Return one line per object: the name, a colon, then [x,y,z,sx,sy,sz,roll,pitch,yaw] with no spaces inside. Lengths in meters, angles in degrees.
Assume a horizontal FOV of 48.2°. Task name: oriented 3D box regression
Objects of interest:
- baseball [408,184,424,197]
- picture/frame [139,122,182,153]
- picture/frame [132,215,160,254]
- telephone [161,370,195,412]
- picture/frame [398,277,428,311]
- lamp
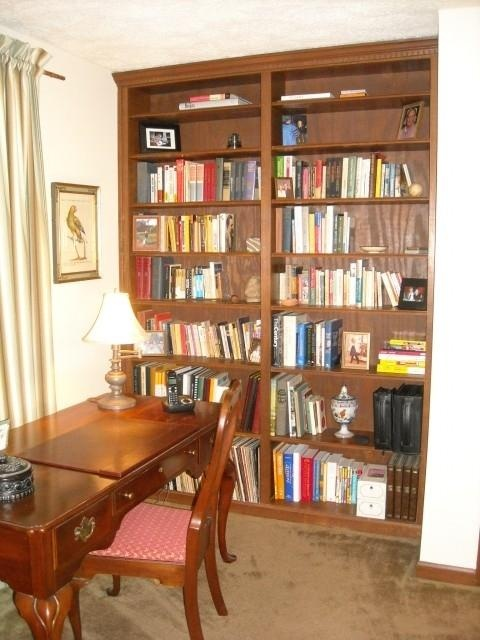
baseball: [0.891,-0.659,2.727,0.059,0.084,0.085,2,4,30]
picture/frame: [-0.496,-1.112,3.264,0.233,0.168,0.017,-4,3,-20]
picture/frame: [-0.571,-0.528,3.292,0.227,0.264,0.020,5,11,23]
telephone: [-0.301,0.321,2.399,0.140,0.203,0.173,0,0,-30]
picture/frame: [0.904,-0.131,2.804,0.175,0.224,0.019,4,-18,31]
lamp: [-0.559,0.133,2.402,0.279,0.497,0.277,2,8,0]
